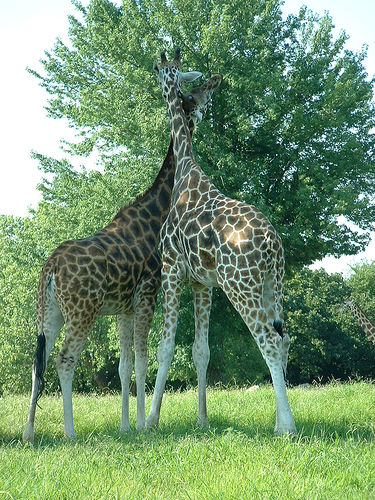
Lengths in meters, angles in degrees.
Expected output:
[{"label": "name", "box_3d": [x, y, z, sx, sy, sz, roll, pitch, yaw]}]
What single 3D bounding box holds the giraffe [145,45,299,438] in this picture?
[{"label": "giraffe", "box_3d": [0.296, -0.454, 7.721, 1.470, 5.187, 3.982, -2, -14, 3]}]
